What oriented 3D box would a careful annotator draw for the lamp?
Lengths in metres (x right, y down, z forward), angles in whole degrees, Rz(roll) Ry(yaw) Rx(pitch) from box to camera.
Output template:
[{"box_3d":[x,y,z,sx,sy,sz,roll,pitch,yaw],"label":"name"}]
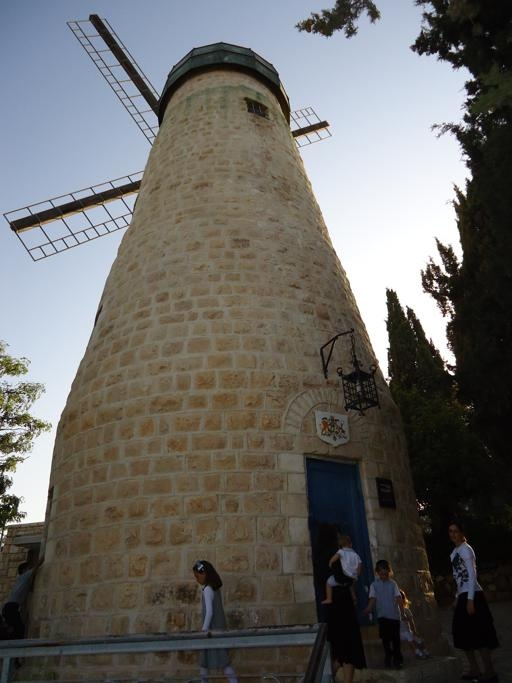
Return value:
[{"box_3d":[1.021,0.337,5.335,0.515,0.922,0.277,-21,-30,27],"label":"lamp"}]
